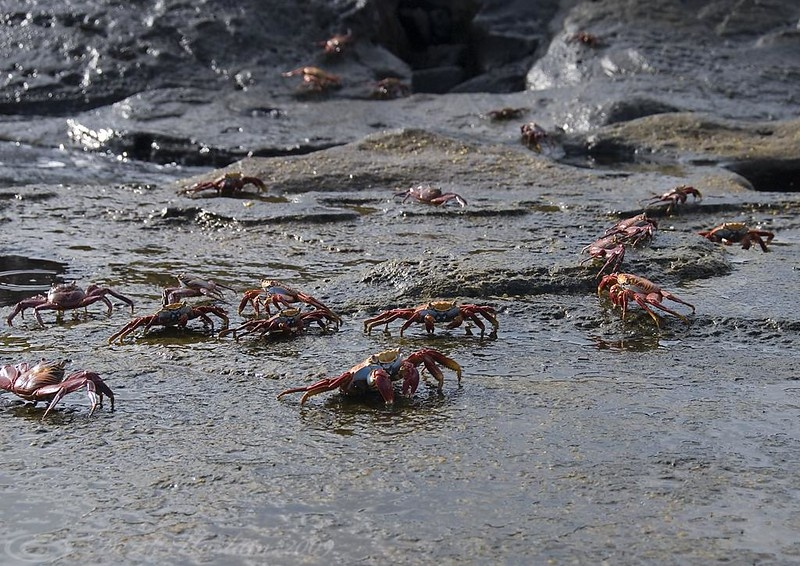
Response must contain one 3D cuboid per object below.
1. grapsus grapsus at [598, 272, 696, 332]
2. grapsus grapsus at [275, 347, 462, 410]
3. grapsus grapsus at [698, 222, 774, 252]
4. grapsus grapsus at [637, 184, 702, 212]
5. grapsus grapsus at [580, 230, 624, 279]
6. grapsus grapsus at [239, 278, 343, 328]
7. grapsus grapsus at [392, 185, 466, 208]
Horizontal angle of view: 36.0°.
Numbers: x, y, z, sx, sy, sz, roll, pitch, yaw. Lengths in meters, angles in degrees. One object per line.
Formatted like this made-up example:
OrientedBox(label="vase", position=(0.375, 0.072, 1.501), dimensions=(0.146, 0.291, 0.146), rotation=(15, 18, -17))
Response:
OrientedBox(label="grapsus grapsus", position=(2.323, 0.122, 11.843), dimensions=(0.782, 0.222, 0.768), rotation=(7, 15, -4))
OrientedBox(label="grapsus grapsus", position=(-0.189, 0.831, 10.908), dimensions=(1.528, 0.484, 0.340), rotation=(0, 9, -16))
OrientedBox(label="grapsus grapsus", position=(3.752, -0.528, 13.796), dimensions=(0.825, 0.292, 0.574), rotation=(4, 7, 17))
OrientedBox(label="grapsus grapsus", position=(3.300, -1.093, 15.046), dimensions=(0.582, 0.129, 0.458), rotation=(-10, 6, 6))
OrientedBox(label="grapsus grapsus", position=(2.064, -0.264, 12.515), dimensions=(0.423, 0.377, 0.507), rotation=(4, 7, 7))
OrientedBox(label="grapsus grapsus", position=(-1.117, 0.148, 12.050), dimensions=(0.760, 0.182, 0.745), rotation=(4, 4, -16))
OrientedBox(label="grapsus grapsus", position=(0.421, -1.102, 15.575), dimensions=(0.507, 0.228, 1.257), rotation=(-4, 8, -45))
